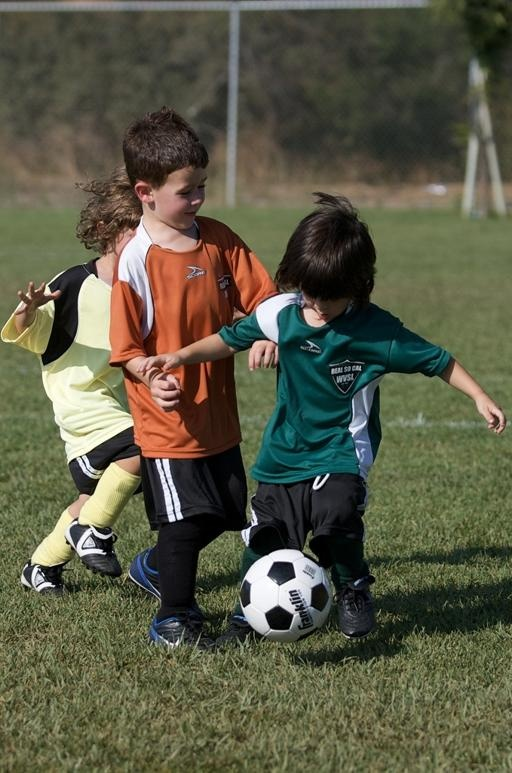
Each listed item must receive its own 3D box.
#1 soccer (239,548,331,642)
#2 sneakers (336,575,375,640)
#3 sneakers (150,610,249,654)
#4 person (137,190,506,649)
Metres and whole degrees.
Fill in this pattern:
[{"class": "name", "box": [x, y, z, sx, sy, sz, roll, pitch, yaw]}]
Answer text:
[{"class": "soccer", "box": [0.112, 0.555, 2.254, 0.276, 0.263, 0.247, -1, 1, 11]}, {"class": "sneakers", "box": [0.280, 0.610, 2.223, 0.087, 0.071, 0.190, -5, 13, -2]}, {"class": "sneakers", "box": [-0.126, 0.677, 2.282, 0.333, 0.119, 0.104, 0, 3, 10]}, {"class": "person", "box": [0.190, 0.110, 2.210, 0.838, 1.278, 0.320, 3, 7, 6]}]
